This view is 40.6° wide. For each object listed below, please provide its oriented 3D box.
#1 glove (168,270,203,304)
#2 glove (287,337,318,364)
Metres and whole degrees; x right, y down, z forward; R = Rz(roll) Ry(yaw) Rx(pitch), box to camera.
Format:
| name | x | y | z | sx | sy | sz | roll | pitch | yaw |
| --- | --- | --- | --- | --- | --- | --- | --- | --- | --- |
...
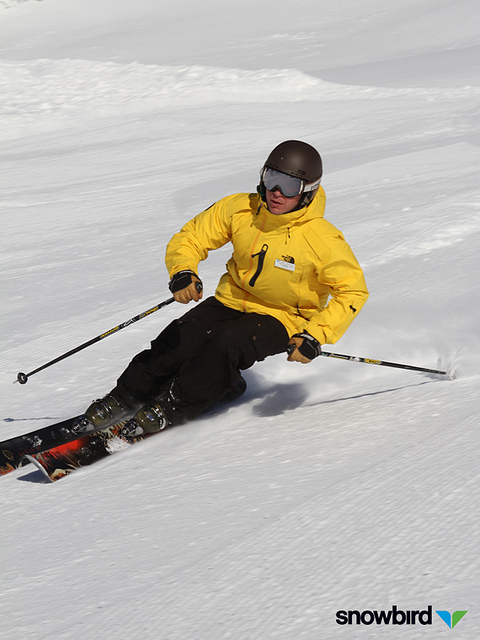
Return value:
| name | x | y | z | sx | sy | sz | roll | pitch | yaw |
| --- | --- | --- | --- | --- | --- | --- | --- | --- | --- |
| glove | -0.314 | -0.196 | 3.798 | 0.178 | 0.195 | 0.094 | -12 | -2 | 16 |
| glove | 0.334 | 0.163 | 3.529 | 0.160 | 0.123 | 0.112 | 4 | 28 | 21 |
